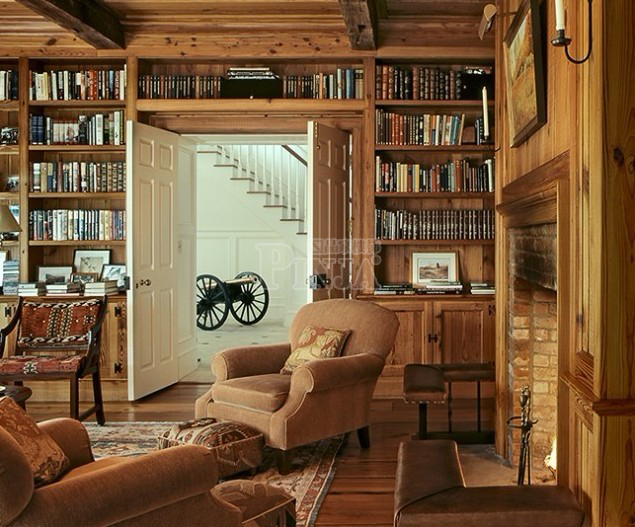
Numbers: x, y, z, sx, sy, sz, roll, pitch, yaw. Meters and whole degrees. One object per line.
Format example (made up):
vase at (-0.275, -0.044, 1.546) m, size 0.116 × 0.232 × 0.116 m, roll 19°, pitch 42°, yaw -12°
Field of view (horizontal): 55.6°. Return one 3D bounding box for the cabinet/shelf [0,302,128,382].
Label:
cabinet/shelf at (-2.260, 0.665, 5.494) m, size 0.906 × 1.151 × 0.820 m, roll 0°, pitch -4°, yaw 3°

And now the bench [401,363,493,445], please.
bench at (0.776, 0.905, 3.530) m, size 0.598 × 0.460 × 0.671 m, roll 0°, pitch 3°, yaw 4°

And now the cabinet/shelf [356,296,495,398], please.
cabinet/shelf at (0.818, 0.577, 4.449) m, size 1.044 × 0.746 × 0.371 m, roll 0°, pitch -3°, yaw 0°

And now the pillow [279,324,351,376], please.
pillow at (-0.003, 0.544, 3.875) m, size 0.371 × 0.328 × 0.109 m, roll -10°, pitch -45°, yaw 41°
